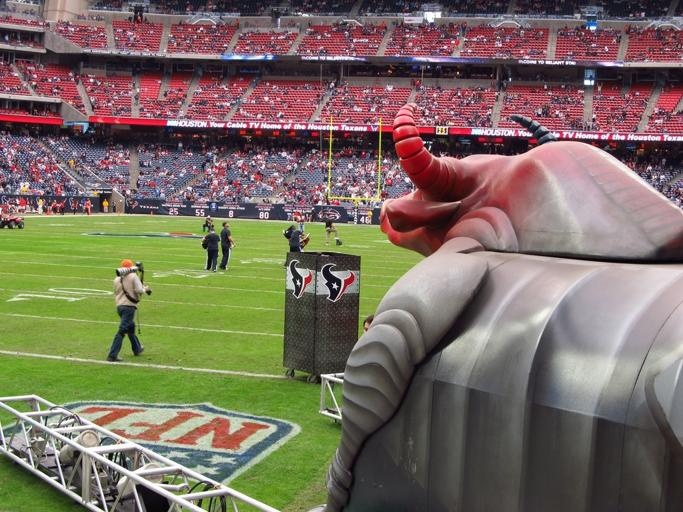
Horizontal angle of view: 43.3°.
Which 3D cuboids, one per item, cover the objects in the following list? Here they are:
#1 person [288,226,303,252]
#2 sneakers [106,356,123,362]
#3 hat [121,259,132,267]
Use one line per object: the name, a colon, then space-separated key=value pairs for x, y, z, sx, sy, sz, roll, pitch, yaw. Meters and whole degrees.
person: x=-1.264 y=-0.487 z=23.561 sx=0.344 sy=0.687 sz=1.395 roll=-11 pitch=8 yaw=-4
sneakers: x=-3.362 y=1.486 z=12.740 sx=0.156 sy=0.078 sz=0.087 roll=0 pitch=0 yaw=-17
hat: x=-3.425 y=0.094 z=13.818 sx=0.109 sy=0.139 sz=0.153 roll=8 pitch=11 yaw=33
